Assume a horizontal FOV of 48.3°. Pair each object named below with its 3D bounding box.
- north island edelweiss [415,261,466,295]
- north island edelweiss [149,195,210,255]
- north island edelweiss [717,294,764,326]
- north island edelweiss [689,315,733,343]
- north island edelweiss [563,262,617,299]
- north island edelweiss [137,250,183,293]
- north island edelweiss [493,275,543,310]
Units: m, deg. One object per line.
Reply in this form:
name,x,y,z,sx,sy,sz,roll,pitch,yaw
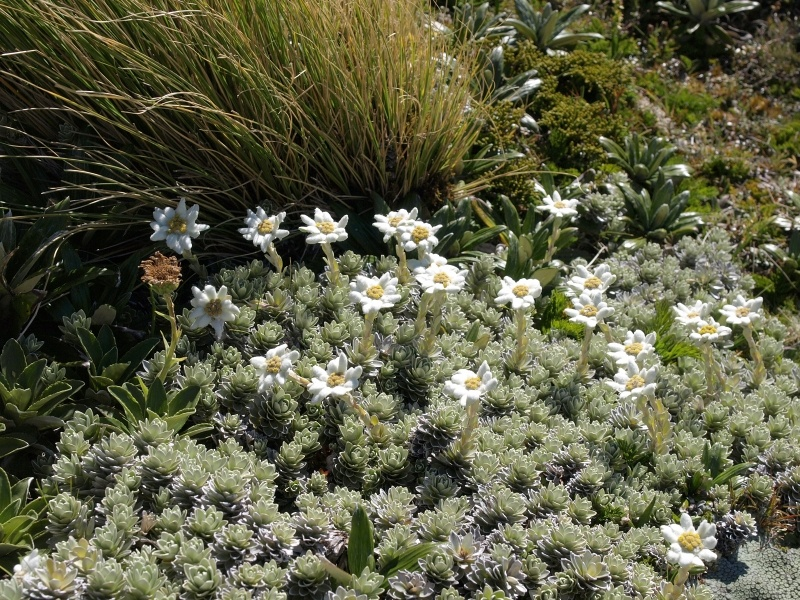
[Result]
north island edelweiss,0.211,-0.097,4.683,0.258,0.140,0.193,0,59,-5
north island edelweiss,-1.192,-0.366,4.759,0.260,0.122,0.327,-16,76,-4
north island edelweiss,1.946,0.092,5.082,0.198,0.114,0.242,-12,31,21
north island edelweiss,1.689,0.154,4.850,0.155,0.066,0.160,6,37,36
north island edelweiss,1.052,-0.062,4.922,0.245,0.106,0.248,-14,33,12
north island edelweiss,-1.195,-0.145,4.507,0.218,0.112,0.249,-7,72,-9
north island edelweiss,0.636,-0.027,4.744,0.188,0.063,0.189,-33,42,-17
